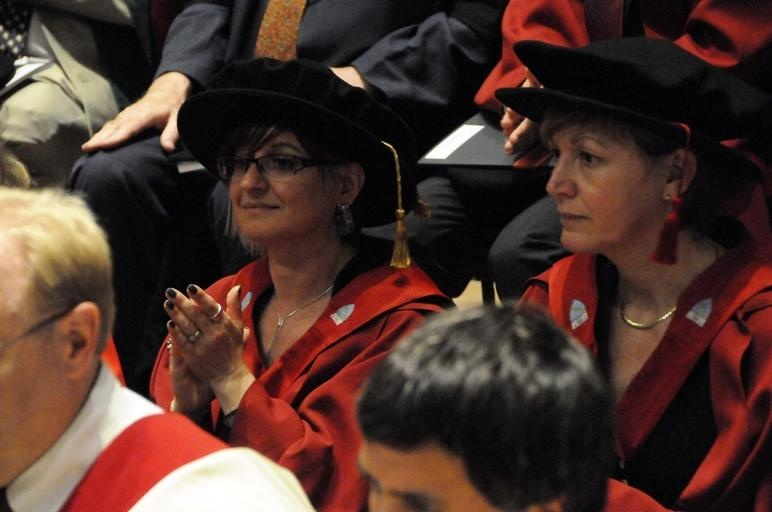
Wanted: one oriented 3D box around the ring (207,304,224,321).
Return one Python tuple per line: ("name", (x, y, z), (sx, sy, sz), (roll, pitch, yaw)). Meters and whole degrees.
("ring", (-0.560, 0.190, 2.532), (0.018, 0.050, 0.046), (27, 33, -9))
